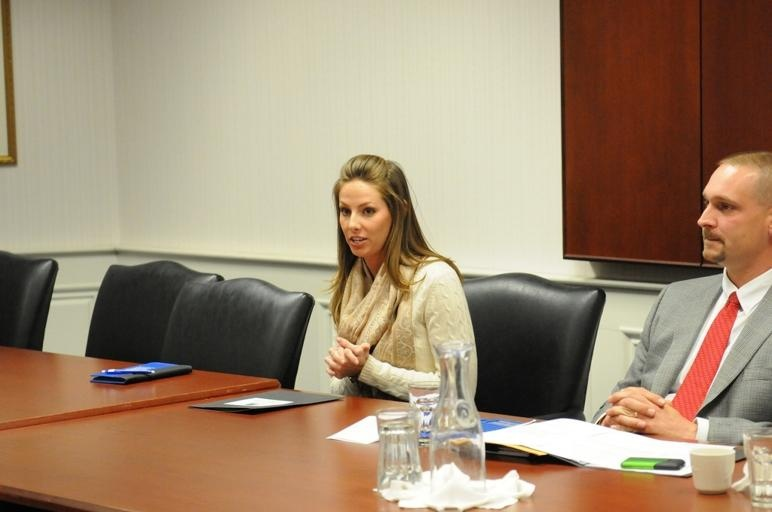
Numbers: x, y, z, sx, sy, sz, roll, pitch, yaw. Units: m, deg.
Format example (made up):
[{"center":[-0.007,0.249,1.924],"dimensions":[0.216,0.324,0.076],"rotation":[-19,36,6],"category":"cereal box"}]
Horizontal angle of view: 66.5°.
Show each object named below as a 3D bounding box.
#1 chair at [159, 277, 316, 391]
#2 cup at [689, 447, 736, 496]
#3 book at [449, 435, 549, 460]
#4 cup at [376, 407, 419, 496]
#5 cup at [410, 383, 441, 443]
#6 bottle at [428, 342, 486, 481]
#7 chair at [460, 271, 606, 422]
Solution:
[{"center":[-0.572,0.295,2.721],"dimensions":[0.473,0.698,0.582],"rotation":[8,-6,25],"category":"chair"},{"center":[0.694,0.455,1.260],"dimensions":[0.090,0.090,0.102],"rotation":[-4,0,18],"category":"cup"},{"center":[0.264,0.451,1.375],"dimensions":[0.137,0.035,0.133],"rotation":[2,1,40],"category":"book"},{"center":[0.035,0.426,1.281],"dimensions":[0.112,0.175,0.107],"rotation":[-2,7,0],"category":"cup"},{"center":[0.073,0.421,1.540],"dimensions":[0.087,0.145,0.089],"rotation":[2,-15,1],"category":"cup"},{"center":[0.142,0.321,1.212],"dimensions":[0.111,0.298,0.094],"rotation":[0,7,17],"category":"bottle"},{"center":[0.593,0.348,2.449],"dimensions":[0.485,0.689,0.566],"rotation":[0,-5,27],"category":"chair"}]
